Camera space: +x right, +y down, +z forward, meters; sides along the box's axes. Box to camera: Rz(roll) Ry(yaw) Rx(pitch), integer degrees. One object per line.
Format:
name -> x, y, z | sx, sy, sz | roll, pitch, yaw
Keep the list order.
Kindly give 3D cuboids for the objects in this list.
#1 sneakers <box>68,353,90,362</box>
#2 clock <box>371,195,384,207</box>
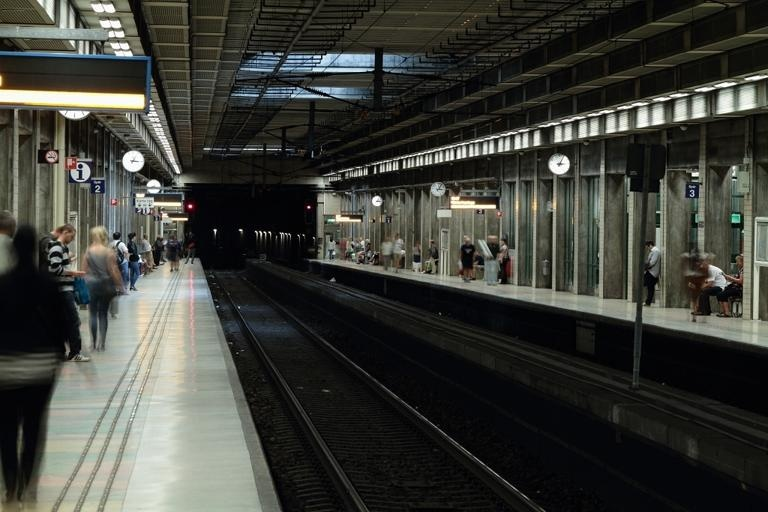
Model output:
sneakers -> -5.807, 1.966, 13.926 | 0.441, 0.198, 0.167 | 0, 1, -3
clock -> -0.585, -3.953, 52.627 | 0.827, 0.872, 0.200 | -1, 8, -17
